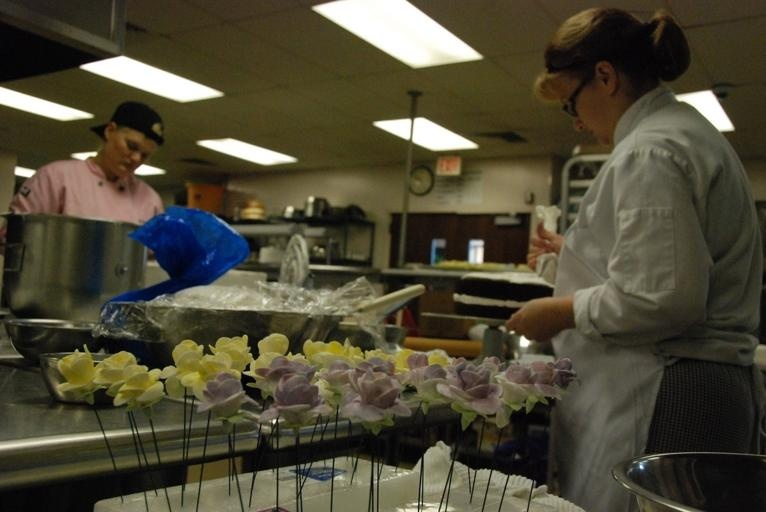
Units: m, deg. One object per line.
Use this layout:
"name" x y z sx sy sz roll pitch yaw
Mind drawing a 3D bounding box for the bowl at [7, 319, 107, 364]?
"bowl" -0.788 0.191 1.528 0.203 0.071 0.201 2 -9 0

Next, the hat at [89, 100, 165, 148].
"hat" -1.131 -0.570 2.728 0.350 0.175 0.212 4 -2 -4

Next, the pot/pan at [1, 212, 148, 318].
"pot/pan" -0.921 -0.022 1.932 0.411 0.277 0.347 7 -8 -19

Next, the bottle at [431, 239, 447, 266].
"bottle" 0.693 -0.069 8.084 0.185 0.250 0.327 4 -2 -2
